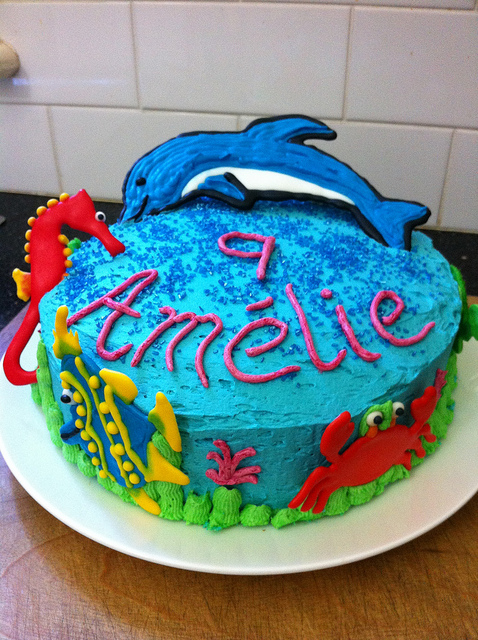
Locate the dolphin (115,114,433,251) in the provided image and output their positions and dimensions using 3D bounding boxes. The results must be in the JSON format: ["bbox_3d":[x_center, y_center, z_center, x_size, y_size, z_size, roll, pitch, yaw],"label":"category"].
[{"bbox_3d":[0.077,-0.569,2.398,1.244,0.432,0.373,6,22,18],"label":"dolphin"}]

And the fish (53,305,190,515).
[{"bbox_3d":[-0.374,0.307,1.805,0.578,0.525,0.090,17,25,35],"label":"fish"}]
